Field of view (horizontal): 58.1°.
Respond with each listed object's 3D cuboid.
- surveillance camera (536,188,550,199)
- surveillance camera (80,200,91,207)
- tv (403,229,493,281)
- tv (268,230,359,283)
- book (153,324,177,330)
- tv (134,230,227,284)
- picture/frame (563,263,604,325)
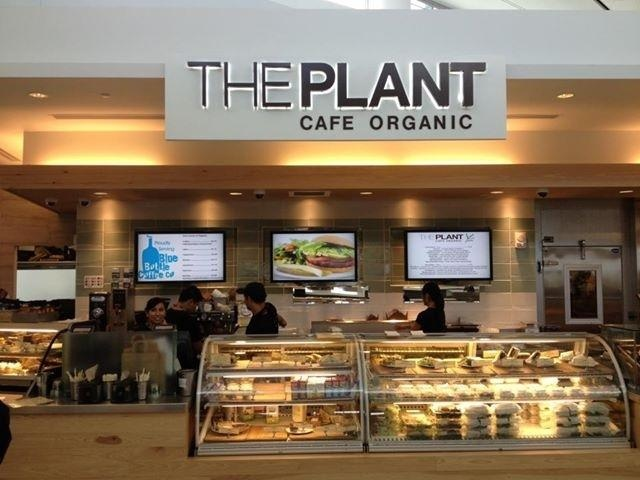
[{"bbox_3d":[2.875,-0.598,7.435,0.162,0.083,0.137,1,-6,-5],"label":"surveillance camera"},{"bbox_3d":[-3.215,-0.496,7.879,0.129,0.023,0.102,0,-17,-7],"label":"surveillance camera"},{"bbox_3d":[1.769,0.211,8.081,1.629,0.738,0.142,1,-2,-29],"label":"tv"},{"bbox_3d":[-0.084,0.233,8.081,1.524,0.719,0.034,-1,-3,37],"label":"tv"},{"bbox_3d":[-1.398,0.782,5.192,0.185,0.031,0.146,1,-3,-1],"label":"book"},{"bbox_3d":[-1.967,0.244,8.069,1.707,0.739,0.095,-2,-4,30],"label":"tv"},{"bbox_3d":[3.784,0.774,8.270,0.027,0.830,0.589,7,-9,-28],"label":"picture/frame"}]
